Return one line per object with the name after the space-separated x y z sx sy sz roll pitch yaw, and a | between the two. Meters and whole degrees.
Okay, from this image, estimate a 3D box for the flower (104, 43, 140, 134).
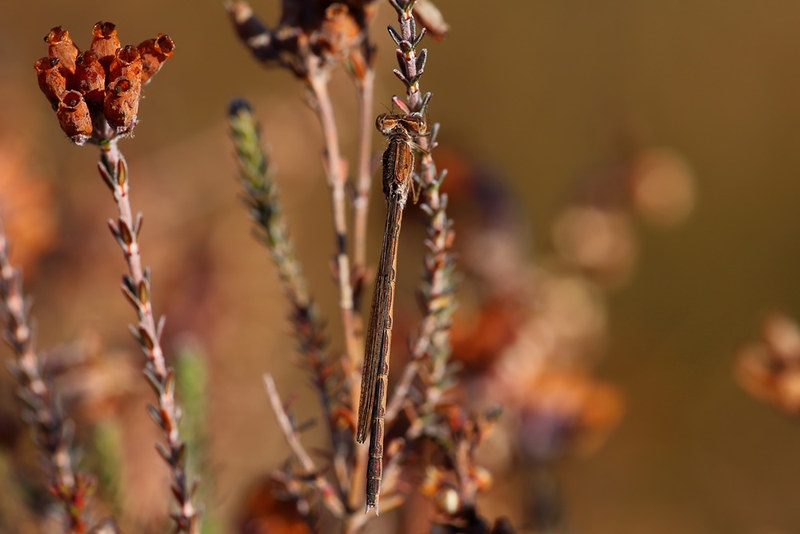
-0.299 -0.192 1.185 0.035 0.093 0.037 7 12 -8 | flower

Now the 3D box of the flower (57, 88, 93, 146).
-0.350 -0.161 1.175 0.023 0.057 0.034 8 16 44 | flower

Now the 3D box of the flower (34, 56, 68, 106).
-0.379 -0.200 1.189 0.028 0.060 0.026 -27 52 -22 | flower

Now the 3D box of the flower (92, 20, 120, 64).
-0.327 -0.237 1.207 0.032 0.055 0.033 3 33 -10 | flower

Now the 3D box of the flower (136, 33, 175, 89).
-0.272 -0.231 1.215 0.038 0.052 0.041 -6 12 -14 | flower
